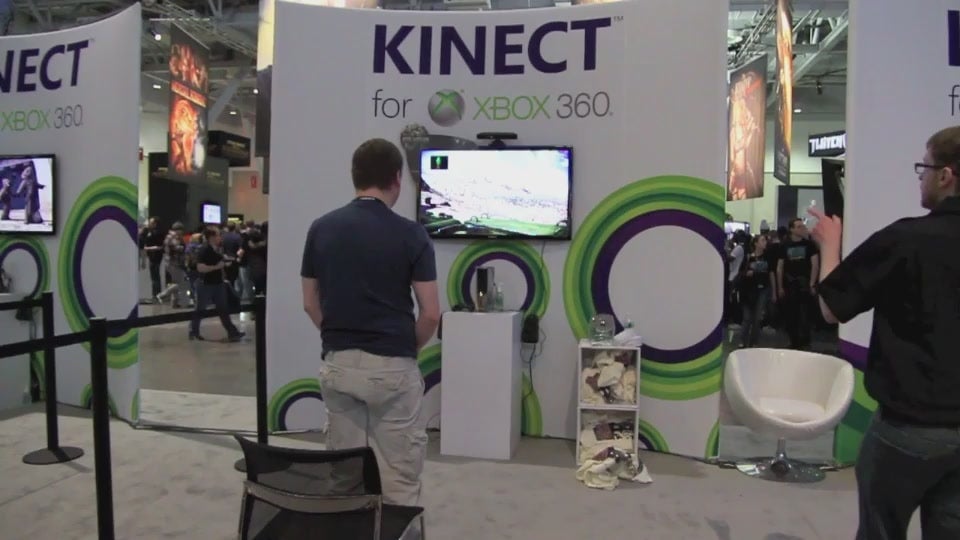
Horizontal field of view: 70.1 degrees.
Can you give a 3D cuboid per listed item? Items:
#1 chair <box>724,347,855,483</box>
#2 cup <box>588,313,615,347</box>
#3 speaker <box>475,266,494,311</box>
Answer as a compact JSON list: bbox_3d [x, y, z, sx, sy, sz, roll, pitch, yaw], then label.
[{"bbox_3d":[3.111,1.491,6.953,1.088,1.237,1.152,0,4,-10],"label":"chair"},{"bbox_3d":[1.296,0.635,7.544,0.306,0.492,0.254,2,-20,5],"label":"cup"},{"bbox_3d":[0.068,0.207,7.471,0.193,0.462,0.138,1,5,-7],"label":"speaker"}]
